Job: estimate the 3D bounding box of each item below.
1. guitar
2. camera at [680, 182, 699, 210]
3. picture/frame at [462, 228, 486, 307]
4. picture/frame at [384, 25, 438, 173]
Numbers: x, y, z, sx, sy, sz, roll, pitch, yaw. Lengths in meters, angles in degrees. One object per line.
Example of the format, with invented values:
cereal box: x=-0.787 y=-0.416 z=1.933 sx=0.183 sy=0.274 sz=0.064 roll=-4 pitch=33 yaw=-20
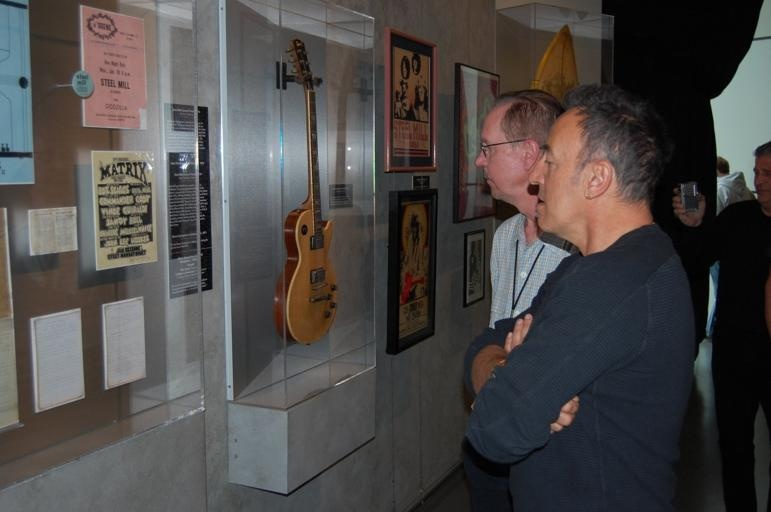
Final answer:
guitar: x=-0.385 y=-0.194 z=2.672 sx=0.091 sy=1.238 sz=0.357 roll=6 pitch=13 yaw=37
camera: x=2.118 y=-0.412 z=3.984 sx=0.116 sy=0.182 sz=0.053 roll=-2 pitch=-4 yaw=13
picture/frame: x=0.716 y=0.090 z=4.704 sx=0.058 sy=0.748 sz=0.599 roll=4 pitch=6 yaw=26
picture/frame: x=0.149 y=-1.032 z=3.737 sx=0.069 sy=1.137 sz=0.939 roll=4 pitch=7 yaw=29
